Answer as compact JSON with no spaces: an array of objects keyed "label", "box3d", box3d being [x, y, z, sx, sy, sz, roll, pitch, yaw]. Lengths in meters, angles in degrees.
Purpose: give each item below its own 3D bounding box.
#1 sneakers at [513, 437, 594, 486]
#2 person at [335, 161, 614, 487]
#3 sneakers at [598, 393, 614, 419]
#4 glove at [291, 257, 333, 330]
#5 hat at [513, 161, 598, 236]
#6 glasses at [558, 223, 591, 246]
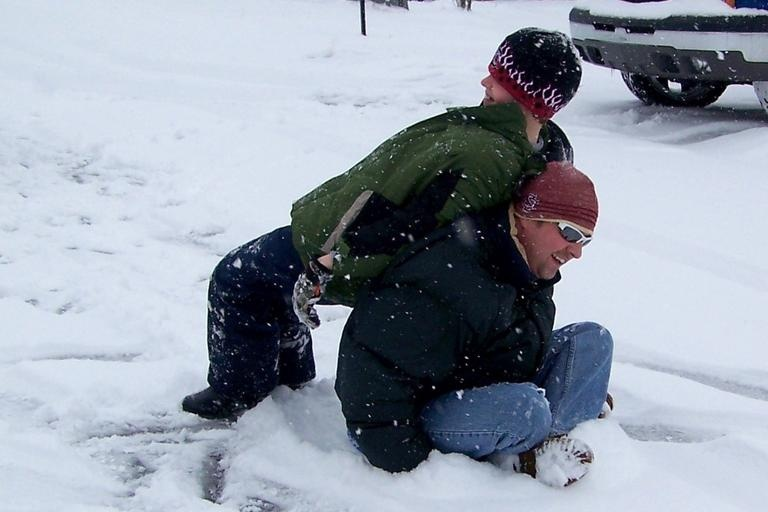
[{"label":"sneakers","box3d":[1.019,1.212,5.961,0.406,0.227,0.173,-12,-8,22]},{"label":"person","box3d":[0.504,0.419,5.844,1.517,1.573,1.094,-2,37,-13]},{"label":"sneakers","box3d":[1.411,0.945,6.316,0.110,0.043,0.146,-30,92,-41]},{"label":"glove","box3d":[-0.428,0.217,5.915,0.142,0.381,0.287,14,-10,15]},{"label":"hat","box3d":[1.058,-0.329,6.017,0.516,0.401,0.370,23,6,16]},{"label":"glasses","box3d":[1.119,-0.127,5.870,0.143,0.050,0.141,28,8,-47]}]
